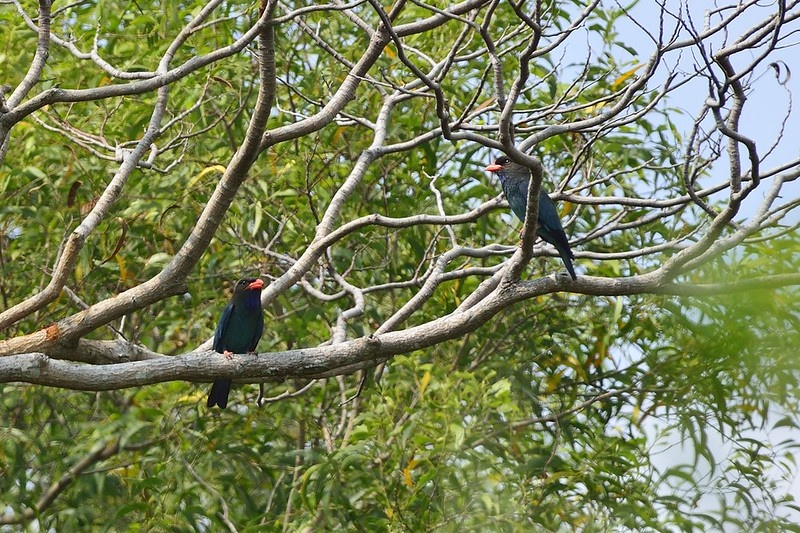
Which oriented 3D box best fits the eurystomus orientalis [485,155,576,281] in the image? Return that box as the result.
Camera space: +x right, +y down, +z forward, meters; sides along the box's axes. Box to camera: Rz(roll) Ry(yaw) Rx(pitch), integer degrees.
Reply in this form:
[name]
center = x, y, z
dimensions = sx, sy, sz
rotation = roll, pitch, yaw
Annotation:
[eurystomus orientalis]
center = 1.007, -0.437, 9.347
dimensions = 0.706, 1.342, 0.538
rotation = 6, -34, 3
